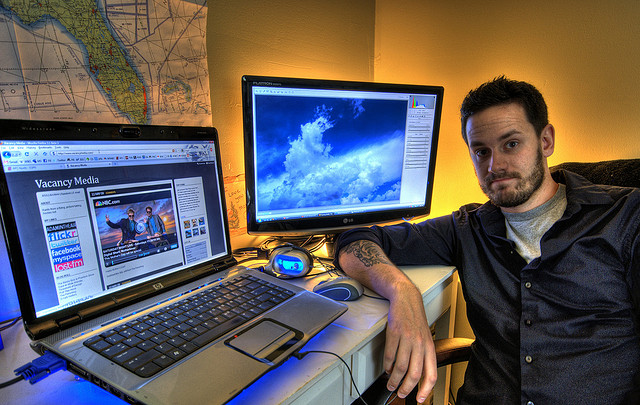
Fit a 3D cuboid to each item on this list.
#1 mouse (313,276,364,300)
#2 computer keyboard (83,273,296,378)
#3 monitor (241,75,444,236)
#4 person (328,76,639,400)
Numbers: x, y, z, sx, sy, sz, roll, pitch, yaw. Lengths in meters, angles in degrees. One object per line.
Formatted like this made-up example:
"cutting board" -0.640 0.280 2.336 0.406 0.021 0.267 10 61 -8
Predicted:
"mouse" 0.069 0.285 1.426 0.140 0.043 0.075 2 5 8
"computer keyboard" -0.363 0.356 1.270 0.555 0.116 0.197 -11 14 -35
"monitor" 0.096 -0.186 1.800 1.003 0.624 0.223 -7 15 -36
"person" 0.597 0.147 1.502 0.961 1.150 0.615 -3 12 3
